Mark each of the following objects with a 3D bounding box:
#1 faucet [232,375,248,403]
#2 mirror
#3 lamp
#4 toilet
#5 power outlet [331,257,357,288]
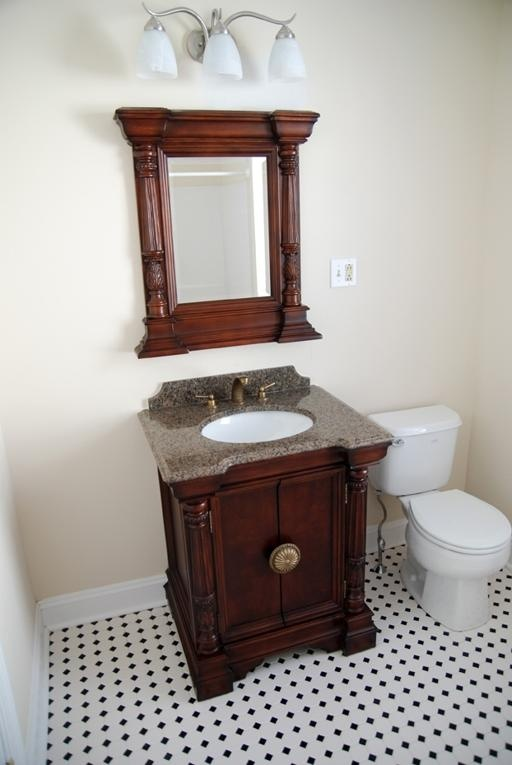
[{"bbox_3d":[-0.060,0.023,2.163,0.053,0.093,0.135,-1,14,7],"label":"faucet"},{"bbox_3d":[-0.153,-0.525,2.015,0.767,0.916,0.126,-6,17,-18],"label":"mirror"},{"bbox_3d":[-0.124,-1.044,1.831,0.351,0.154,0.160,-5,43,-13],"label":"lamp"},{"bbox_3d":[0.713,0.495,2.248,0.374,0.671,0.599,-8,15,-20],"label":"toilet"},{"bbox_3d":[0.331,-0.419,2.262,0.103,0.101,0.011,-8,18,-24],"label":"power outlet"}]
